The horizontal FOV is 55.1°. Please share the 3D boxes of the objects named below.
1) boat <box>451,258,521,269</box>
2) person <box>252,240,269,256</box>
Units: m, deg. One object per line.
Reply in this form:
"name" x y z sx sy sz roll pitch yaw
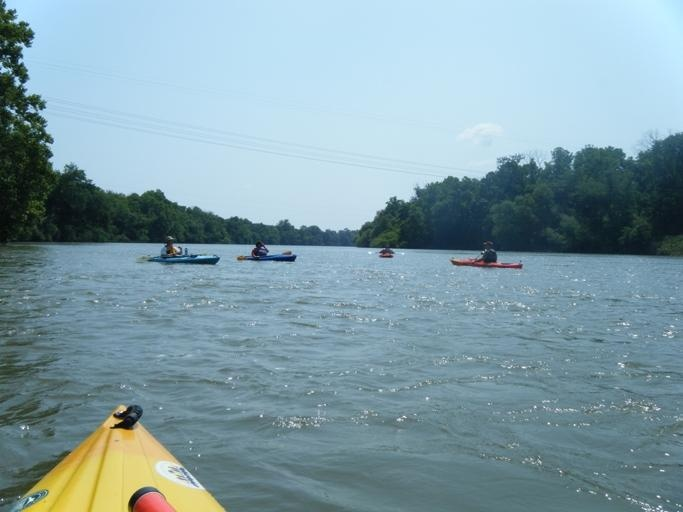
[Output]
"boat" 7.725 0.440 35.474 1.060 0.672 4.520 -2 0 -36
"person" -5.259 -0.504 43.026 1.275 1.320 0.930 -2 4 -40
